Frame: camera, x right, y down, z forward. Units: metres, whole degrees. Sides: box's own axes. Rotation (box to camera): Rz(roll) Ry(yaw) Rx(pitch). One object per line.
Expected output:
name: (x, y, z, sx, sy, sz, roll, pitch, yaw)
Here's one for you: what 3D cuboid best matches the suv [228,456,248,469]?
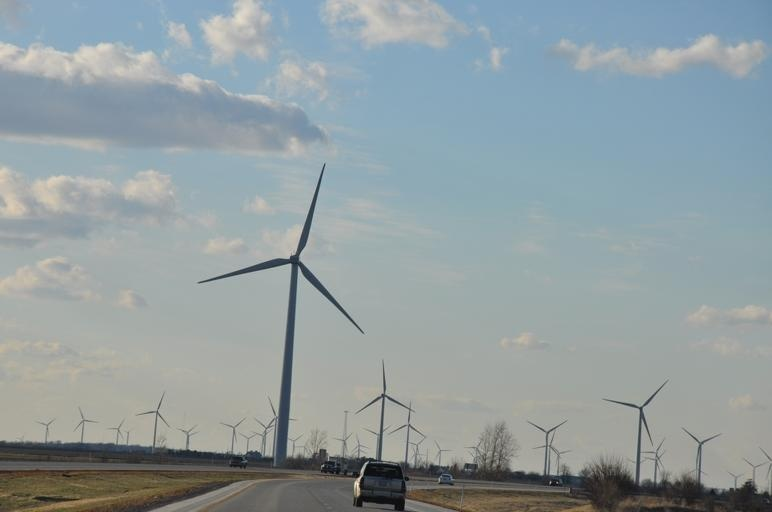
suv: (-27.420, 37.882, 186.459, 2.593, 2.423, 3.923, 5, -17, 0)
